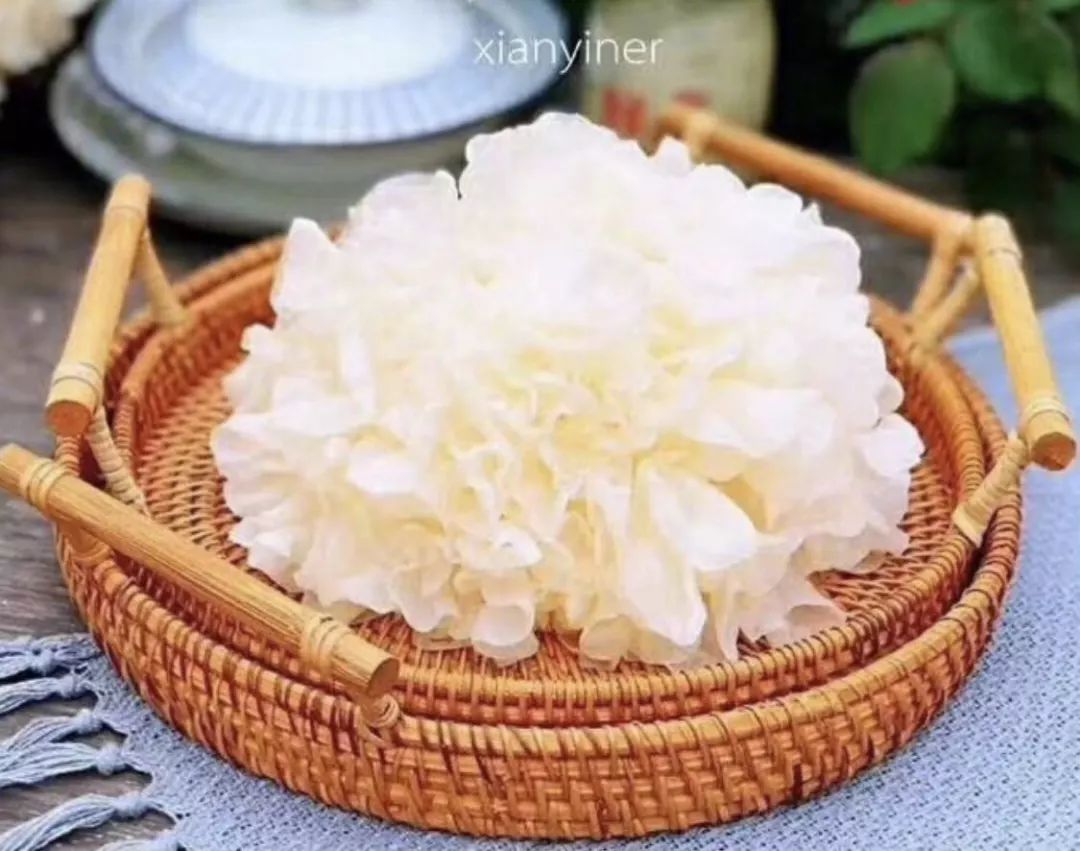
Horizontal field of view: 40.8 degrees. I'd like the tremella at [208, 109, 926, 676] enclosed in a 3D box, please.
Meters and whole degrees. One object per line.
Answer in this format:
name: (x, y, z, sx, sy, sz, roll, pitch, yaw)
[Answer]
tremella: (0.029, -0.049, 1.277, 0.610, 0.418, 0.458, 1, 24, 2)
